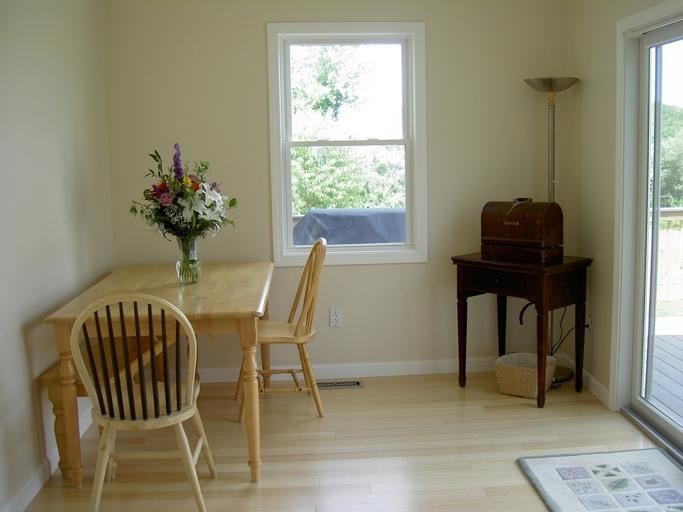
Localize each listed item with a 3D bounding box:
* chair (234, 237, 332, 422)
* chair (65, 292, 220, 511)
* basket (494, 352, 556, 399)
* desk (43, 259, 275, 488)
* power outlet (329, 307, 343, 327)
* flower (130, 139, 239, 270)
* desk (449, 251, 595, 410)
[{"bbox_3d":[-0.372,0.429,3.674,0.503,1.100,0.505,1,3,-13],"label":"chair"},{"bbox_3d":[-1.058,0.622,3.104,0.630,1.130,1.163,-7,14,-23],"label":"chair"},{"bbox_3d":[1.208,0.796,3.918,0.313,0.175,0.370,-8,1,-31],"label":"basket"},{"bbox_3d":[-1.032,0.616,3.770,1.040,0.918,1.838,-1,7,-7],"label":"desk"},{"bbox_3d":[-0.042,0.426,4.161,0.123,0.190,0.042,0,5,-5],"label":"power outlet"},{"bbox_3d":[-0.912,-0.288,3.425,0.506,0.631,0.500,13,22,27],"label":"flower"},{"bbox_3d":[1.198,0.413,3.917,0.585,0.919,0.739,-10,12,-41],"label":"desk"}]
